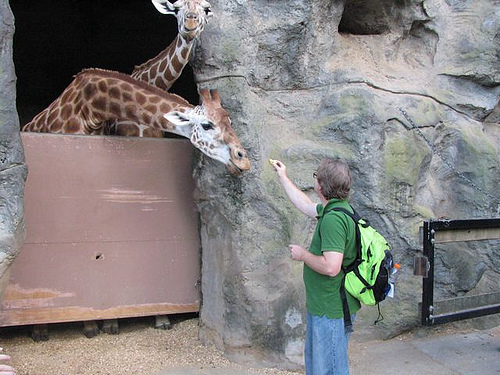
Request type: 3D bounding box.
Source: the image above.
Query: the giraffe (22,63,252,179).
[{"bbox_3d":[-1.077,-0.660,5.931,2.625,0.933,0.497,10,16,38],"label":"giraffe"}]
